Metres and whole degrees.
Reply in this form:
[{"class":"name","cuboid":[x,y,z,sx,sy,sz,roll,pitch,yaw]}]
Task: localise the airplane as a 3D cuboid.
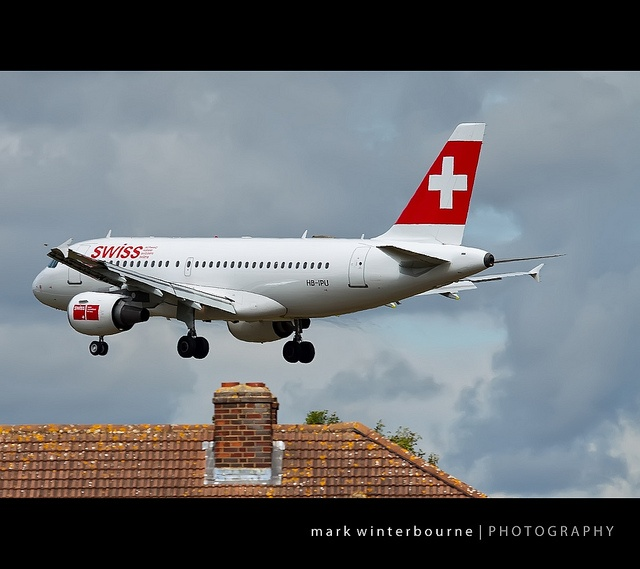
[{"class":"airplane","cuboid":[-1.313,-0.536,38.104,12.440,7.284,6.456,-3,14,6]}]
